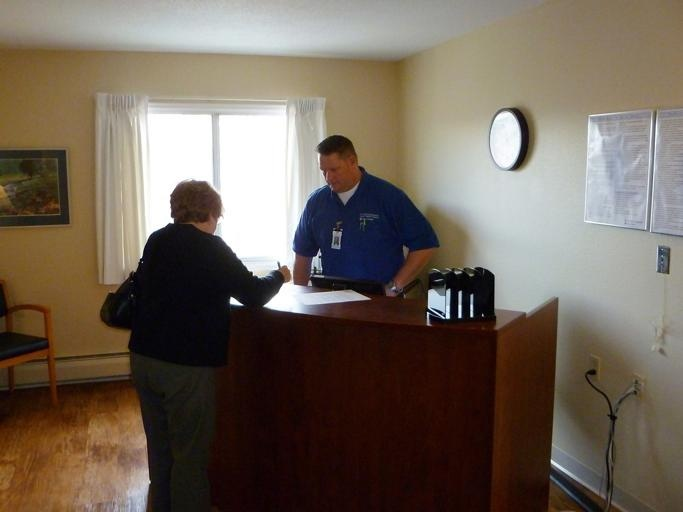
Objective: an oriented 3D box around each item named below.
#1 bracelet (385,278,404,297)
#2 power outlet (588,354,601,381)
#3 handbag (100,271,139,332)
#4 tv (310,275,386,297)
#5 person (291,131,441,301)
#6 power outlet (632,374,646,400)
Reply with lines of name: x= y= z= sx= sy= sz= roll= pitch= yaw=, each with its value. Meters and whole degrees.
bracelet: x=0.349 y=0.217 z=3.682 sx=0.061 sy=0.094 sz=0.214 roll=-2 pitch=-11 yaw=10
power outlet: x=1.627 y=0.708 z=3.537 sx=0.015 sy=0.157 sz=0.089 roll=-7 pitch=14 yaw=-30
handbag: x=-1.219 y=0.256 z=3.057 sx=0.152 sy=0.319 sz=0.278 roll=19 pitch=-9 yaw=-37
tv: x=0.044 y=0.164 z=3.139 sx=0.321 sy=0.105 sz=0.233 roll=5 pitch=-12 yaw=24
person: x=0.120 y=-0.325 z=4.001 sx=1.034 sy=1.285 sz=0.590 roll=4 pitch=34 yaw=20
power outlet: x=1.783 y=0.779 z=3.304 sx=0.019 sy=0.132 sz=0.076 roll=-9 pitch=15 yaw=-37
